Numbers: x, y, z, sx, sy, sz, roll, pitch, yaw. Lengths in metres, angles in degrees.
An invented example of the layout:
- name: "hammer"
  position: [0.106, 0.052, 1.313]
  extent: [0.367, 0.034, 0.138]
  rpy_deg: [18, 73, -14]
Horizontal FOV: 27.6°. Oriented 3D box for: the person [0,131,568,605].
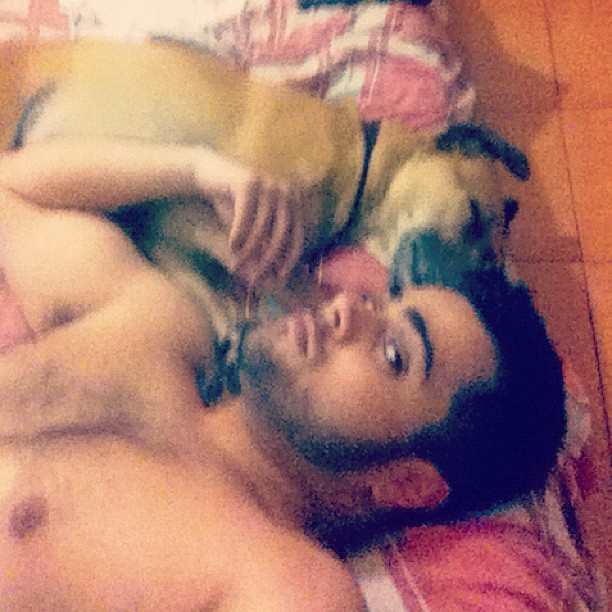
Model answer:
- name: "person"
  position: [-0.160, 0.291, 3.659]
  extent: [1.645, 0.304, 1.368]
  rpy_deg: [11, 75, 1]
